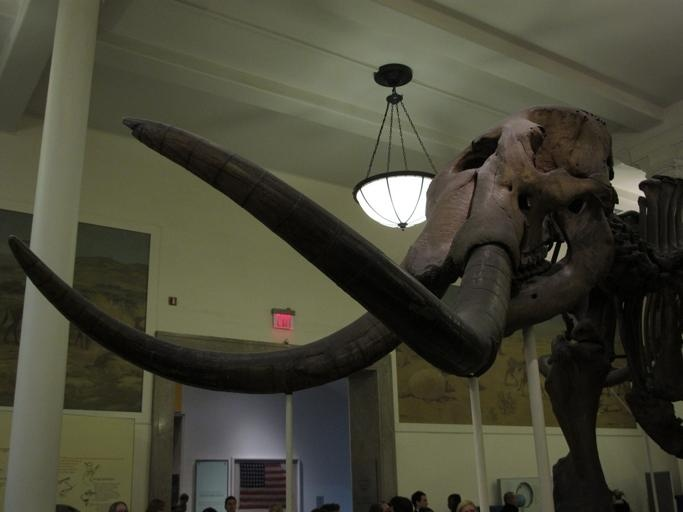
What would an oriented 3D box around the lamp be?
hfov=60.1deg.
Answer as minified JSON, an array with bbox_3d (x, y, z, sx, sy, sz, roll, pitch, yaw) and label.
[{"bbox_3d":[0.705,-1.603,8.096,1.288,2.585,1.307,-7,-25,11],"label":"lamp"}]
